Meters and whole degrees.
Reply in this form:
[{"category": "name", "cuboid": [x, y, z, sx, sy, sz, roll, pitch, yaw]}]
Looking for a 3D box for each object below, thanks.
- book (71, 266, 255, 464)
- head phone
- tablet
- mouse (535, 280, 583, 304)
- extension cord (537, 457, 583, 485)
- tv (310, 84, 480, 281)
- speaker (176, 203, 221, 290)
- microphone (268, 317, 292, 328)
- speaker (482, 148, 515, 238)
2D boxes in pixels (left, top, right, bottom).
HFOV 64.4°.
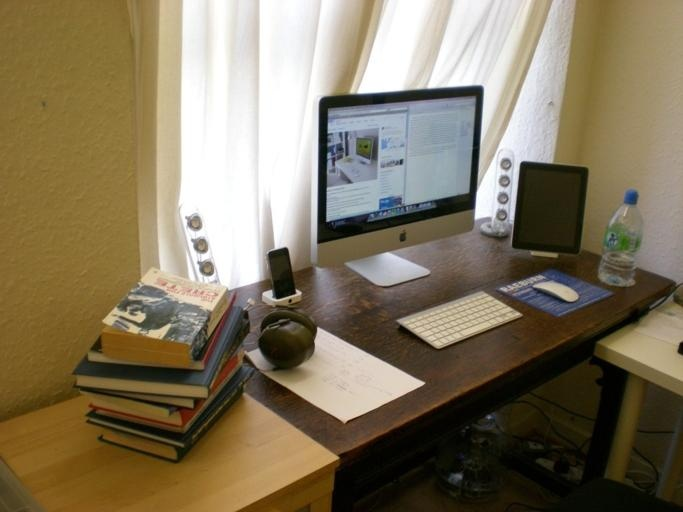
[{"category": "book", "cuboid": [-0.333, 0.199, 1.217, 0.375, 0.316, 0.496, 4, 29, 8]}, {"category": "head phone", "cuboid": [-0.117, 0.183, 1.326, 0.156, 0.132, 0.223, 4, 29, 5]}, {"category": "tablet", "cuboid": [0.722, -0.162, 1.882, 0.277, 0.400, 0.027, 8, 14, 4]}, {"category": "mouse", "cuboid": [0.659, 0.099, 1.656, 0.062, 0.025, 0.101, -14, 32, -37]}, {"category": "extension cord", "cuboid": [0.893, 0.868, 2.221, 0.118, 0.030, 0.124, 19, 22, 35]}, {"category": "tv", "cuboid": [0.149, -0.233, 1.649, 0.501, 0.502, 0.174, -16, 32, -32]}, {"category": "speaker", "cuboid": [-0.403, -0.031, 1.524, 0.110, 0.234, 0.062, 20, 29, 23]}, {"category": "microphone", "cuboid": [-0.147, 0.162, 1.301, 0.034, 0.011, 0.027, -7, 8, 34]}, {"category": "speaker", "cuboid": [0.609, -0.213, 2.099, 0.121, 0.371, 0.093, 21, 33, 29]}]
